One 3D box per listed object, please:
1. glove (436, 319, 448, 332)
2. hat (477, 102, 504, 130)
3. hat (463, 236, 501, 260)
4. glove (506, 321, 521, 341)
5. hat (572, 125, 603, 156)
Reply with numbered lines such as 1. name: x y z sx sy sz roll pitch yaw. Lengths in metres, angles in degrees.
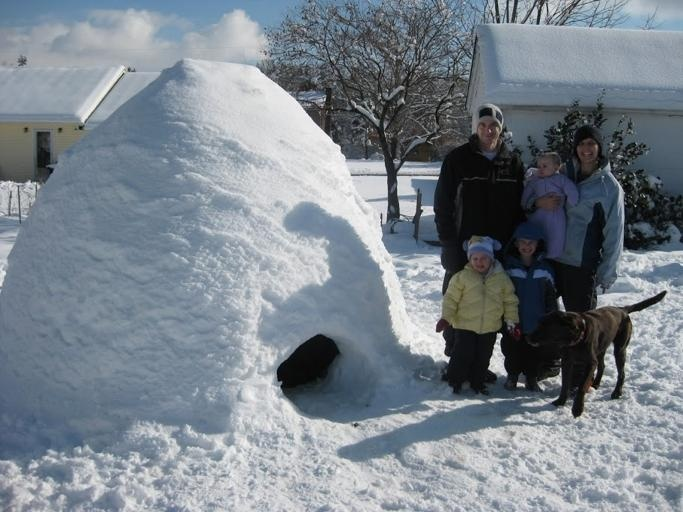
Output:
1. glove: 0.901 0.626 7.126 0.087 0.140 0.189 1 9 15
2. hat: 1.374 -1.277 7.349 0.235 0.228 0.250 7 18 -8
3. hat: 1.270 -0.069 7.225 0.313 0.236 0.358 0 9 8
4. glove: 1.551 0.674 7.180 0.142 0.135 0.272 -14 -2 7
5. hat: 2.204 -1.020 7.213 0.271 0.293 0.282 -6 4 10
